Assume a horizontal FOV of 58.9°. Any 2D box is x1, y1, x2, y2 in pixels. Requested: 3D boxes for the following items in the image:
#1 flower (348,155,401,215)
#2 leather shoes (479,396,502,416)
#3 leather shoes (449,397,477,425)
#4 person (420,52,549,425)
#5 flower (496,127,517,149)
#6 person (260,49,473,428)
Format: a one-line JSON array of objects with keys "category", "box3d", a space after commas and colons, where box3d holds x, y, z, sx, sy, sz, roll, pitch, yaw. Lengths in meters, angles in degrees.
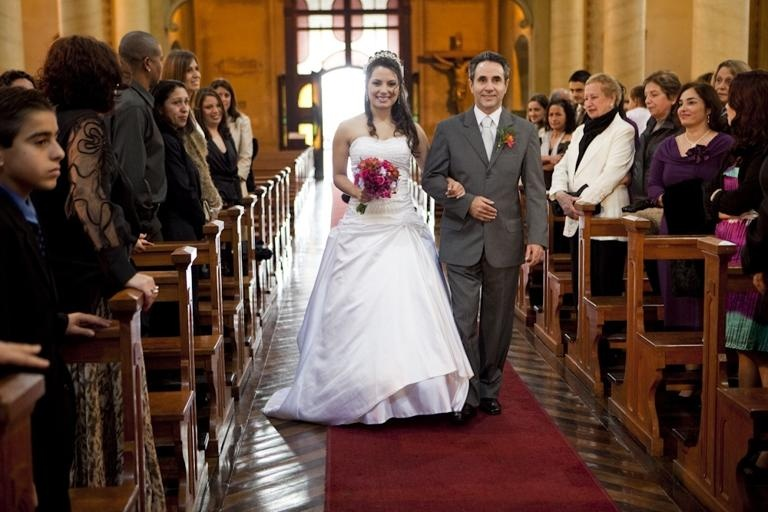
[{"category": "flower", "box3d": [-0.062, -0.481, 4.782, 0.295, 0.359, 0.310, 0, 34, -13]}, {"category": "leather shoes", "box3d": [0.783, 1.102, 4.999, 0.077, 0.094, 0.206, -5, 4, -45]}, {"category": "leather shoes", "box3d": [0.567, 1.113, 4.871, 0.089, 0.124, 0.264, 11, 4, 25]}, {"category": "person", "box3d": [0.753, -0.161, 4.996, 0.824, 2.530, 0.748, -1, 14, 3]}, {"category": "flower", "box3d": [0.883, -0.835, 4.889, 0.116, 0.143, 0.088, 8, 3, -29]}, {"category": "person", "box3d": [-0.048, -0.118, 4.851, 1.339, 2.613, 0.870, 0, 11, 7]}]
